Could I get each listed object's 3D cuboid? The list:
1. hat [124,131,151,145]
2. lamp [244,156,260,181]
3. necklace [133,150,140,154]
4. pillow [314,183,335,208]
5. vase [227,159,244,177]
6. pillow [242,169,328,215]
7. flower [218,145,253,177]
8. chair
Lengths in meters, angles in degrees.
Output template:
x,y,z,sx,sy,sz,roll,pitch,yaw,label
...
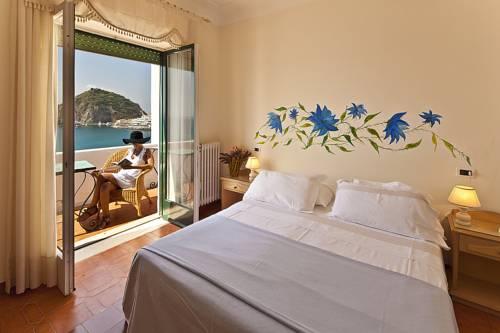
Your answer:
x,y,z,sx,sy,sz,roll,pitch,yaw,label
-1.808,-0.465,4.828,0.404,0.160,0.399,3,3,13,hat
0.055,0.025,4.556,0.232,0.354,0.222,-1,9,-12,lamp
-1.831,-0.230,4.767,0.073,0.052,0.073,1,3,-21,necklace
0.985,0.355,3.815,0.276,0.081,0.283,19,50,36,pillow
-0.255,0.010,4.706,0.289,0.274,0.272,0,6,-11,vase
0.422,0.306,3.804,0.689,0.586,0.175,9,-31,34,pillow
-0.230,-0.101,4.813,0.509,0.399,0.510,-3,4,-38,flower
-2.106,0.208,4.966,1.011,1.035,1.004,3,16,39,chair
